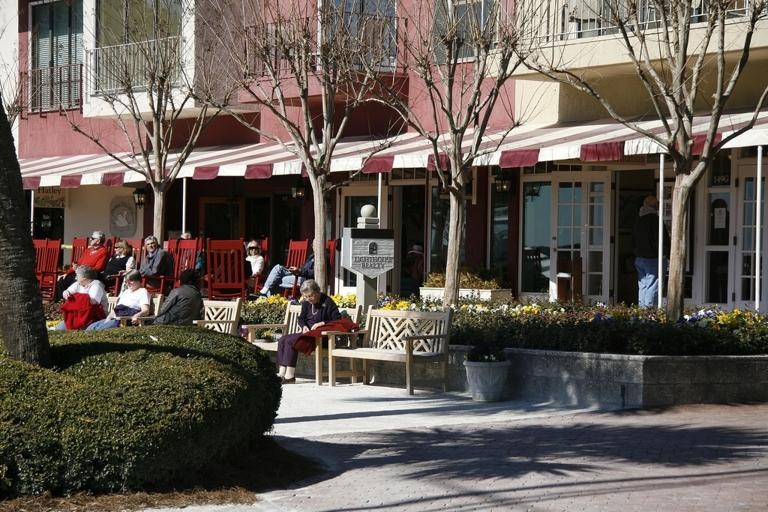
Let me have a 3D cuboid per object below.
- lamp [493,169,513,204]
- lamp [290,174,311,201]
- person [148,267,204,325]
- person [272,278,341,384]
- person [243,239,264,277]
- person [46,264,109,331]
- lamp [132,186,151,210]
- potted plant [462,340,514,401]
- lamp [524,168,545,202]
[{"bbox_3d":[2.604,-1.538,20.589,0.432,0.768,0.588,2,9,2],"label":"lamp"},{"bbox_3d":[-2.156,-1.723,23.514,0.507,0.747,0.527,3,-4,-39],"label":"lamp"},{"bbox_3d":[-3.013,0.644,13.907,0.670,0.776,0.628,-5,11,-40],"label":"person"},{"bbox_3d":[-1.160,1.132,14.055,0.943,1.542,0.669,-1,9,-20],"label":"person"},{"bbox_3d":[-2.867,0.067,20.224,0.508,0.814,0.654,2,-7,-7],"label":"person"},{"bbox_3d":[-4.652,0.646,14.408,0.701,0.952,1.109,-1,9,-18],"label":"person"},{"bbox_3d":[-6.923,-1.656,26.599,0.490,0.675,0.506,1,7,-14],"label":"lamp"},{"bbox_3d":[1.443,1.644,13.096,0.635,0.605,0.664,3,-3,-10],"label":"potted plant"},{"bbox_3d":[3.242,-1.531,20.360,0.518,0.829,0.636,0,0,24],"label":"lamp"}]
